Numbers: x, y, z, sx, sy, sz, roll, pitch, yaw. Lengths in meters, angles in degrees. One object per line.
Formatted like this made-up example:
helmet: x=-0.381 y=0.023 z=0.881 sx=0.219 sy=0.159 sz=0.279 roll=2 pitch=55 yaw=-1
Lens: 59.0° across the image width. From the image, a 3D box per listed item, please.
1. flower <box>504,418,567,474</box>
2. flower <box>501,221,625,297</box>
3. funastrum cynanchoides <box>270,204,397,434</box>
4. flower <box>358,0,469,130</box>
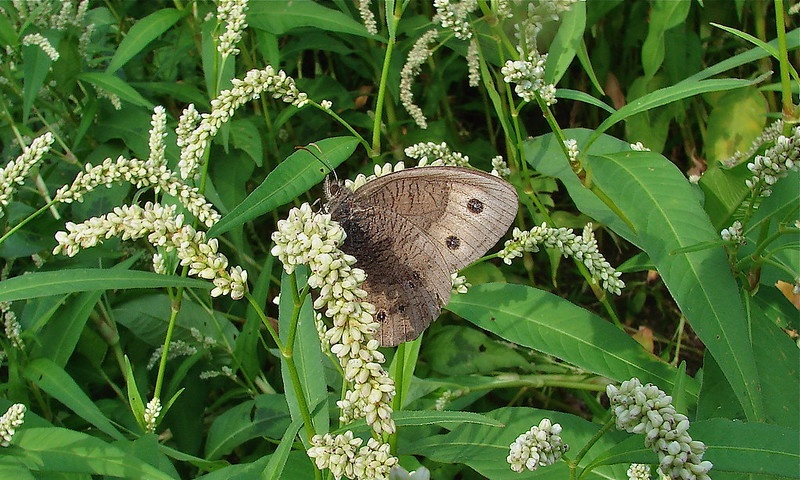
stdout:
flower: x=0.496 y=0.754 z=2.569 sx=0.234 sy=0.120 sz=0.156 roll=-24 pitch=43 yaw=3
flower: x=0.681 y=0.068 z=3.098 sx=0.494 sy=0.390 sz=0.424 roll=-4 pitch=16 yaw=6
funastrum cynanchoides: x=-0.219 y=0.271 z=2.362 sx=0.218 sy=0.766 sz=0.361 roll=-19 pitch=20 yaw=-40
flower: x=0.125 y=-0.856 z=3.789 sx=0.640 sy=0.783 sz=0.199 roll=8 pitch=-8 yaw=-17
